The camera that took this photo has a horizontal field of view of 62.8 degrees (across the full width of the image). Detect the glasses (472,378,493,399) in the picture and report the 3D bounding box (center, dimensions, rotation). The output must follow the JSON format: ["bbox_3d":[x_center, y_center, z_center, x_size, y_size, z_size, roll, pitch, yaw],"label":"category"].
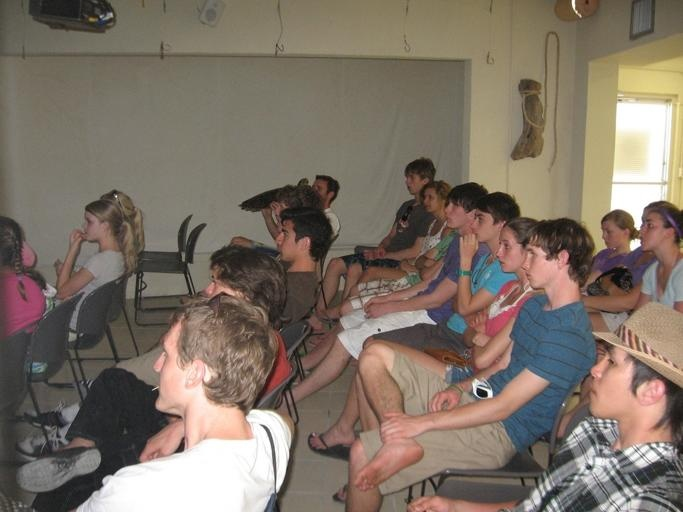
[{"bbox_3d":[0.698,0.657,2.807,0.084,0.104,0.026,-35,-11,23],"label":"glasses"}]

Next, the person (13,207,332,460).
[{"bbox_3d":[-0.761,0.419,4.167,1.155,1.846,0.598,17,19,2],"label":"person"}]

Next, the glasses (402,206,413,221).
[{"bbox_3d":[0.661,-0.426,5.626,0.033,0.132,0.127,13,-26,-22],"label":"glasses"}]

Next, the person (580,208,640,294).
[{"bbox_3d":[2.121,0.035,4.573,0.556,0.815,0.566,4,10,22],"label":"person"}]

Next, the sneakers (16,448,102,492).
[{"bbox_3d":[-1.163,0.880,2.405,0.349,0.165,0.164,-6,3,-14],"label":"sneakers"}]
